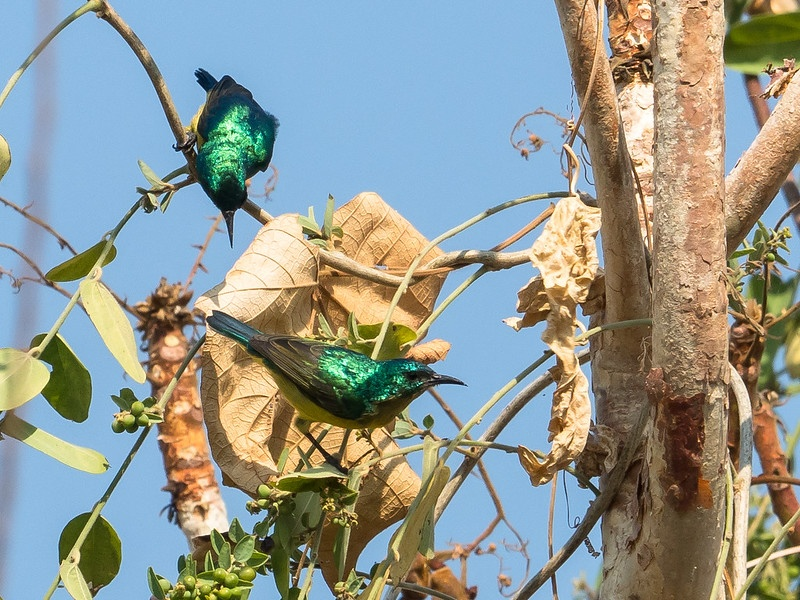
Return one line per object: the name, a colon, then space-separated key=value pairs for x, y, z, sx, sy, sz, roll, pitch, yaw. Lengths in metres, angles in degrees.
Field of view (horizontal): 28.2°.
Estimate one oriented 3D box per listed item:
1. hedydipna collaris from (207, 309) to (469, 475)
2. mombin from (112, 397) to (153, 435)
hedydipna collaris: x=-0.352 y=0.258 z=6.353 sx=1.017 sy=0.346 sz=0.571 roll=31 pitch=-58 yaw=11
mombin: x=-0.955 y=0.409 z=5.687 sx=0.128 sy=0.110 sz=0.073 roll=-9 pitch=-46 yaw=9
